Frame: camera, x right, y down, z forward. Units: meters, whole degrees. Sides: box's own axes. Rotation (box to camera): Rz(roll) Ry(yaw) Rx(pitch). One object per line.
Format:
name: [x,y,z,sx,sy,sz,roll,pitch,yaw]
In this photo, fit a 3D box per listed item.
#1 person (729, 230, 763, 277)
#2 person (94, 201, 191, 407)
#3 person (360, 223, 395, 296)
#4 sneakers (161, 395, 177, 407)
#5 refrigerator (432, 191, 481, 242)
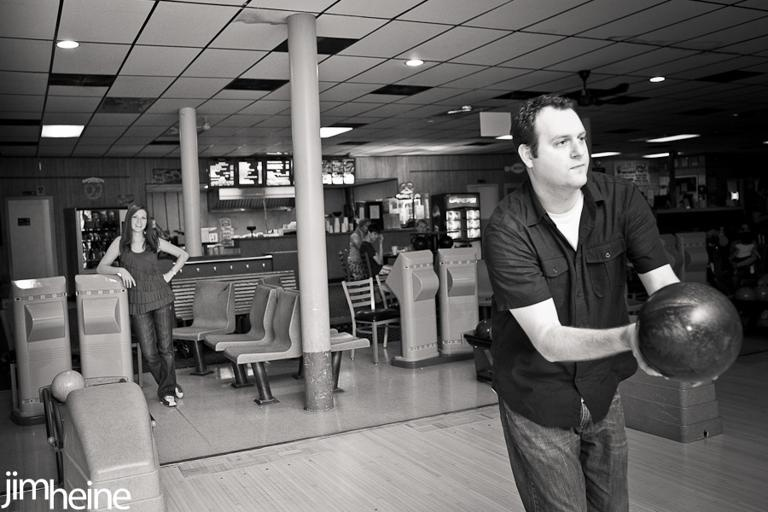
person: [6.650,-0.056,9.939,0.434,0.783,1.537,0,6,35]
person: [-2.681,0.585,6.155,0.883,2.310,0.548,-6,6,-28]
person: [-0.133,0.119,10.756,0.821,1.496,0.605,-2,14,-18]
sneakers: [-2.446,1.674,6.210,0.103,0.077,0.182,5,-5,-33]
refrigerator: [2.290,-1.213,16.992,1.473,1.540,0.996,-3,5,5]
